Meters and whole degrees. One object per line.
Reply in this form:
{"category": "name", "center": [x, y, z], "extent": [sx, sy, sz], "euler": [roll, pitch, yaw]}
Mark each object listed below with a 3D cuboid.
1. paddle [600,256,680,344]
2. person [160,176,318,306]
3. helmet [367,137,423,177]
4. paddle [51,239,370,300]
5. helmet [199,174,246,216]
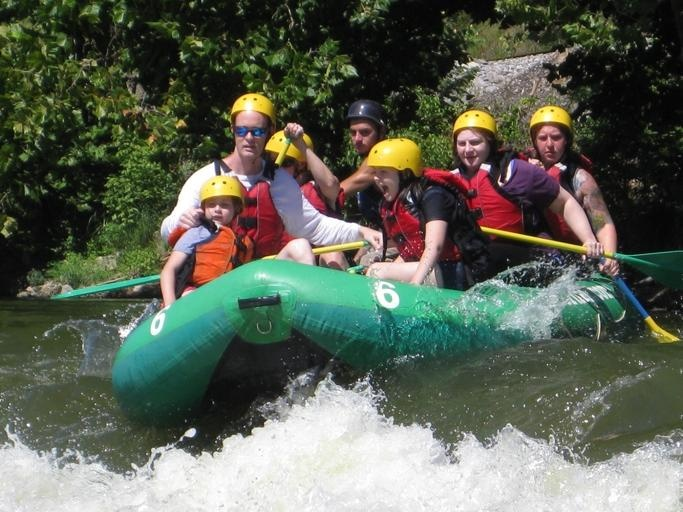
{"category": "paddle", "center": [2.771, 0.416, 7.215], "extent": [0.123, 0.906, 0.099], "euler": [-23, 28, 20]}
{"category": "person", "center": [-0.860, -0.116, 6.141], "extent": [1.013, 0.902, 1.083], "euler": [3, -16, -41]}
{"category": "helmet", "center": [0.441, -0.808, 6.230], "extent": [0.342, 0.299, 0.282], "euler": [-4, 12, -4]}
{"category": "paddle", "center": [-1.344, 0.147, 7.679], "extent": [2.095, 0.106, 0.283], "euler": [-18, 35, -14]}
{"category": "helmet", "center": [-0.969, -0.538, 6.465], "extent": [0.221, 0.313, 0.246], "euler": [-5, 53, 2]}
